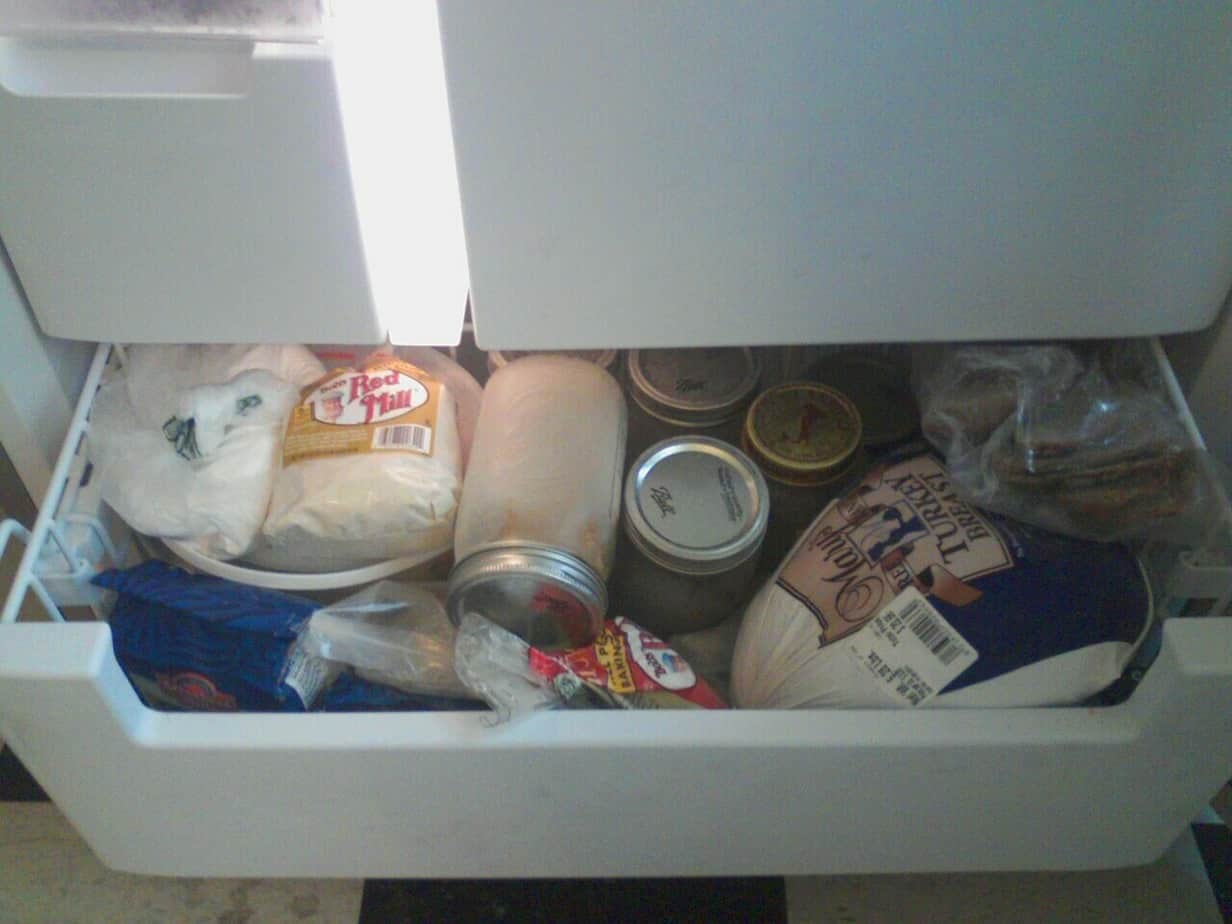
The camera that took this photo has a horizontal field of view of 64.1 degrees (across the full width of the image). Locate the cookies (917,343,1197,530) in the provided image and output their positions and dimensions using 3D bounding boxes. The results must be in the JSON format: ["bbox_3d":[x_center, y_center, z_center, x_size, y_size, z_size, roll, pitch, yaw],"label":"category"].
[{"bbox_3d":[0.424,-0.025,0.985,0.186,0.070,0.201,-1,62,6],"label":"cookies"}]

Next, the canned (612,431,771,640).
[{"bbox_3d":[0.058,0.064,1.074,0.162,0.191,0.186,9,64,-1],"label":"canned"}]

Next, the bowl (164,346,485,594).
[{"bbox_3d":[-0.260,0.007,0.967,0.241,0.080,0.267,-5,69,1],"label":"bowl"}]
